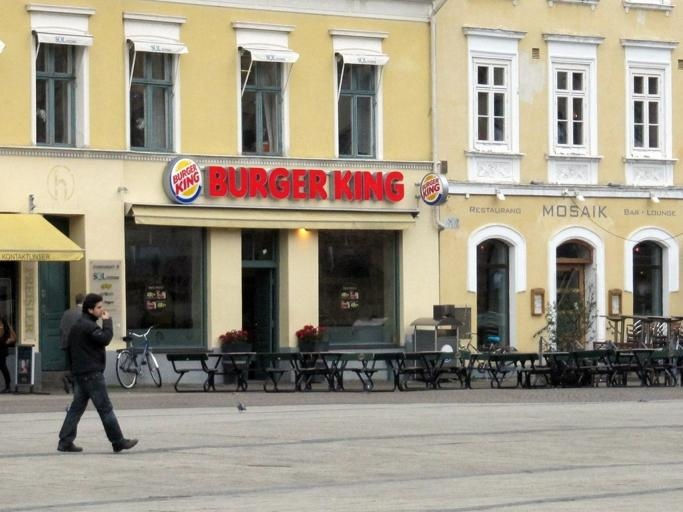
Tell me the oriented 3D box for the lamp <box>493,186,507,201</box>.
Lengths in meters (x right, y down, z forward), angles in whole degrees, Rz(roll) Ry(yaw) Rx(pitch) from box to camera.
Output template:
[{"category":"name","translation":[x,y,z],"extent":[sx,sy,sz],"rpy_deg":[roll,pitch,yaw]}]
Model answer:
[{"category":"lamp","translation":[3.881,-1.642,42.504],"extent":[0.306,0.324,0.133],"rpy_deg":[2,-5,-15]}]

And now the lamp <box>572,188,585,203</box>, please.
[{"category":"lamp","translation":[5.850,-1.627,43.136],"extent":[0.207,0.326,0.136],"rpy_deg":[2,-42,-1]}]

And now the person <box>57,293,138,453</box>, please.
[{"category":"person","translation":[-4.096,1.998,29.540],"extent":[1.354,2.721,0.834],"rpy_deg":[-2,-5,30]}]

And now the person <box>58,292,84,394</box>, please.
[{"category":"person","translation":[-5.546,1.822,36.580],"extent":[0.623,1.987,0.905],"rpy_deg":[-1,14,-8]}]

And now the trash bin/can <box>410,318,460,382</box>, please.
[{"category":"trash bin/can","translation":[2.247,2.207,41.534],"extent":[0.956,1.500,0.861],"rpy_deg":[3,0,-22]}]

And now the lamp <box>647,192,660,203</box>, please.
[{"category":"lamp","translation":[7.848,-1.599,43.682],"extent":[0.282,0.284,0.178],"rpy_deg":[1,-5,-5]}]

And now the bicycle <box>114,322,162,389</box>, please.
[{"category":"bicycle","translation":[-4.590,2.281,39.689],"extent":[0.878,1.417,0.746],"rpy_deg":[2,-1,10]}]
